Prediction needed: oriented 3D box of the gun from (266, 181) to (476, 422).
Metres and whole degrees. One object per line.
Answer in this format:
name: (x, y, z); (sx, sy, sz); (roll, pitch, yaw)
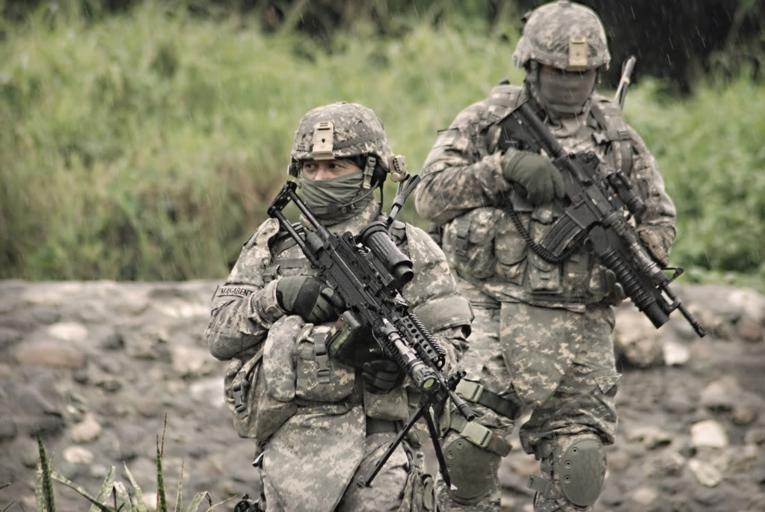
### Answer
gun: (-0.141, 0.481, 15.025); (2.471, 1.016, 0.500); (54, 25, 19)

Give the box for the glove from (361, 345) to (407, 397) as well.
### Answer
glove: (0.004, 1.039, 14.887); (0.392, 0.328, 0.190); (8, 41, 26)

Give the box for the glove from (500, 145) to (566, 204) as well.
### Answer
glove: (1.465, -0.725, 15.880); (0.621, 0.443, 0.284); (10, 40, 19)

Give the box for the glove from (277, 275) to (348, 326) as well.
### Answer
glove: (-0.665, 0.388, 14.972); (0.577, 0.185, 0.382); (28, 80, -1)
